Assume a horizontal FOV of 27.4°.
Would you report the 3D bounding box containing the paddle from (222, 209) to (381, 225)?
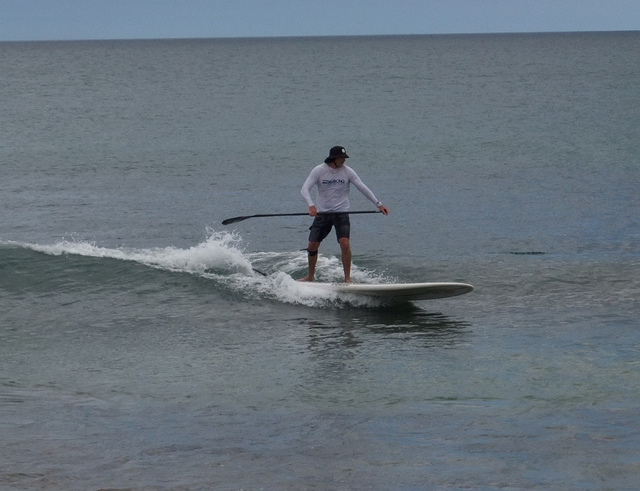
[{"bbox_3d":[-0.419,-0.760,28.022,3.437,0.364,1.171,-2,15,-7],"label":"paddle"}]
